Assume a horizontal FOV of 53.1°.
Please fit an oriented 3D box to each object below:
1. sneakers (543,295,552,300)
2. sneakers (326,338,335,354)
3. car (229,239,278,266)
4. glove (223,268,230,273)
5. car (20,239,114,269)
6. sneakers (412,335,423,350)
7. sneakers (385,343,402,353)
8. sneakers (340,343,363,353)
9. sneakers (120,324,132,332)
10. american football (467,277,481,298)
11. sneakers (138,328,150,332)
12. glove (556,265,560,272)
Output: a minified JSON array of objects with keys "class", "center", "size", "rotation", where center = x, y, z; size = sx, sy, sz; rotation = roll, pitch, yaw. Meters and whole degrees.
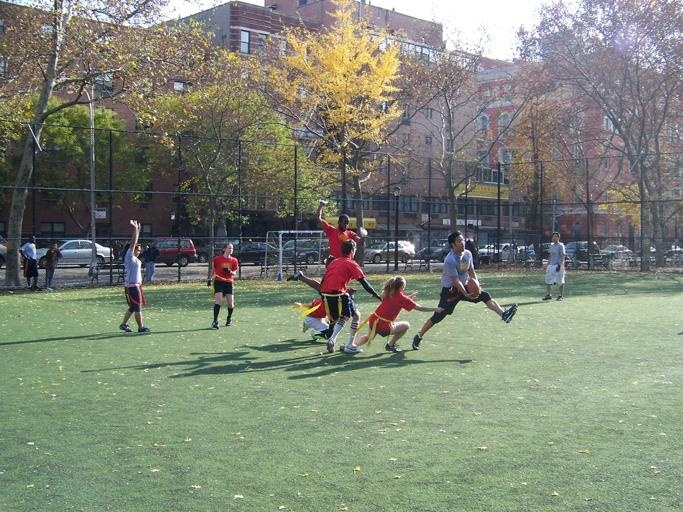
[{"class":"sneakers","center":[5.890,1.181,19.532],"size":[0.131,0.135,0.324],"rotation":[2,1,12]},{"class":"sneakers","center":[-0.205,1.532,11.489],"size":[0.109,0.112,0.249],"rotation":[4,-39,3]},{"class":"car","center":[-4.549,-0.371,42.865],"size":[3.826,1.229,1.739],"rotation":[2,-2,11]},{"class":"glove","center":[-2.360,0.277,14.042],"size":[0.138,0.083,0.021],"rotation":[0,-2,6]},{"class":"car","center":[-12.751,-0.110,31.619],"size":[3.554,1.194,1.576],"rotation":[2,-3,-24]},{"class":"sneakers","center":[1.295,1.477,11.690],"size":[0.118,0.322,0.141],"rotation":[15,-6,-29]},{"class":"sneakers","center":[0.888,1.555,11.720],"size":[0.270,0.146,0.352],"rotation":[0,-2,0]},{"class":"sneakers","center":[0.160,1.539,11.459],"size":[0.349,0.141,0.123],"rotation":[1,8,-8]},{"class":"sneakers","center":[-4.380,1.443,13.782],"size":[0.238,0.113,0.079],"rotation":[24,7,9]},{"class":"american football","center":[2.327,0.530,12.046],"size":[0.167,0.295,0.294],"rotation":[-5,32,9]},{"class":"sneakers","center":[-3.937,1.457,13.581],"size":[0.226,0.092,0.091],"rotation":[-4,-4,19]},{"class":"glove","center":[6.112,0.326,19.209],"size":[0.134,0.236,0.133],"rotation":[0,-6,26]}]
